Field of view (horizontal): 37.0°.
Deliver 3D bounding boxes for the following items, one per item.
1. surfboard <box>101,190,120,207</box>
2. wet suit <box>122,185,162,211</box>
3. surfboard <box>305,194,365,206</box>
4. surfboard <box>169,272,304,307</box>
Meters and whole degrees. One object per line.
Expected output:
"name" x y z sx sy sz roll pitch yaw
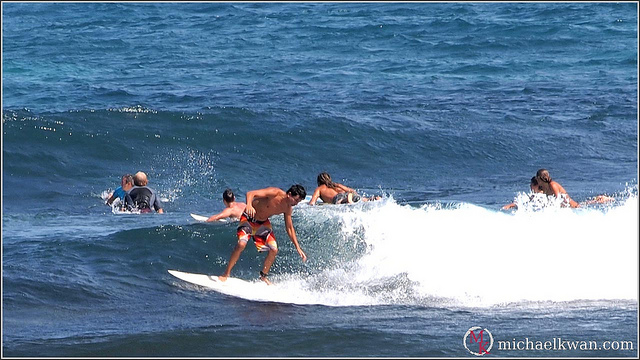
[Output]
"surfboard" -8.782 0.646 39.945 0.730 0.268 0.782 2 39 -21
"wet suit" -7.106 0.713 38.331 1.267 1.035 0.484 6 12 -1
"surfboard" 0.567 0.849 36.981 1.445 0.338 0.785 1 13 23
"surfboard" -3.046 3.960 34.173 4.546 1.092 0.951 0 1 5
